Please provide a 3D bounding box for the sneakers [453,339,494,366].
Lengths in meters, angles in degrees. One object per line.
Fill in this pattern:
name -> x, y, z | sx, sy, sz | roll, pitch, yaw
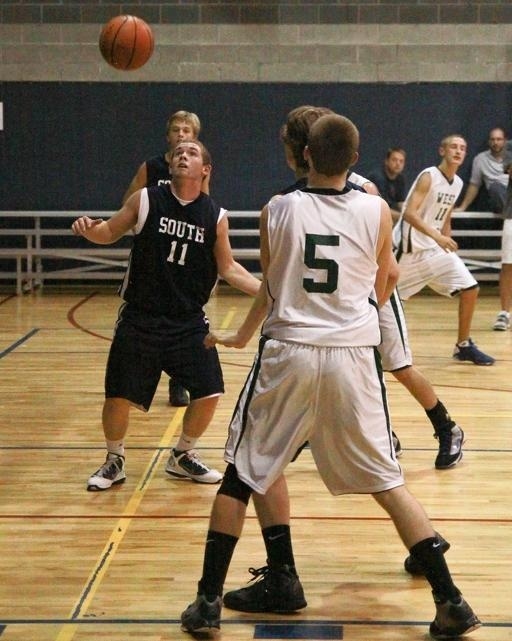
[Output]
sneakers -> 1.556, 0.226, 5.611 | 0.328, 0.160, 0.116 | 6, 8, 37

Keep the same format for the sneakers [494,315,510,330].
sneakers -> 2.105, -0.006, 6.940 | 0.129, 0.163, 0.217 | 7, 11, 15

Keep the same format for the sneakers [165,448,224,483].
sneakers -> -0.224, 0.605, 3.406 | 0.292, 0.114, 0.096 | 8, 8, 12

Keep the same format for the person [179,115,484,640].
person -> 0.201, 0.158, 2.148 | 0.697, 1.377, 0.477 | 4, 12, -4
